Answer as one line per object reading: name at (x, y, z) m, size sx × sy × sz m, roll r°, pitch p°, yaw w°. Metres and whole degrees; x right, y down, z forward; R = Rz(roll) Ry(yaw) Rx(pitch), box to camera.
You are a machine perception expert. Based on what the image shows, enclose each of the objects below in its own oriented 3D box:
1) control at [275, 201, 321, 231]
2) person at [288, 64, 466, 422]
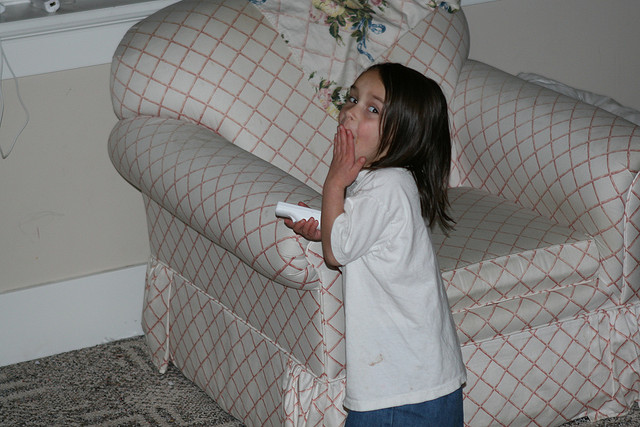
control at (-0.063, -0.002, 1.592) m, size 0.147 × 0.054 × 0.050 m, roll 17°, pitch 8°, yaw 27°
person at (0.186, 0.085, 1.536) m, size 0.367 × 0.898 × 0.299 m, roll -1°, pitch 15°, yaw -1°
